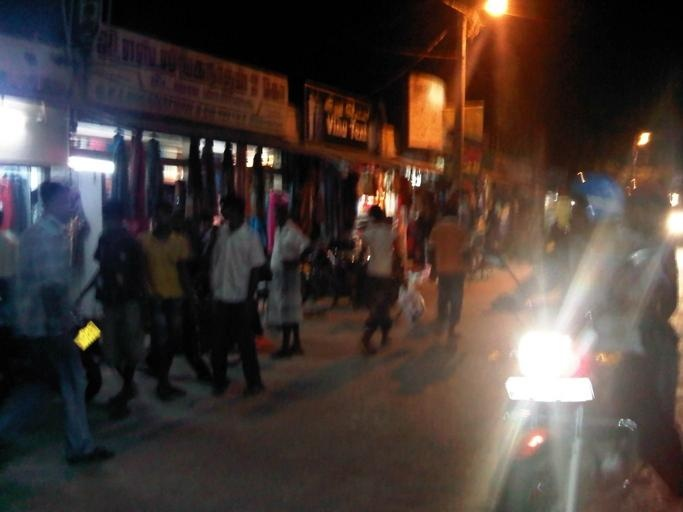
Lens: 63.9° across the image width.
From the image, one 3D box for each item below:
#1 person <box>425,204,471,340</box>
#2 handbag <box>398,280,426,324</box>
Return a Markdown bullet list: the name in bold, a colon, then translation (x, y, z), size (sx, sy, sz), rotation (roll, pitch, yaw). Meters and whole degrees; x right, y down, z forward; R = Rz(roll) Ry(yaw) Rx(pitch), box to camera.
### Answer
- **person**: translation (1.790, 0.238, 9.146), size (0.646, 2.309, 0.953), rotation (1, 6, 10)
- **handbag**: translation (1.287, 0.909, 10.427), size (0.213, 0.735, 0.501), rotation (-13, 7, 20)
